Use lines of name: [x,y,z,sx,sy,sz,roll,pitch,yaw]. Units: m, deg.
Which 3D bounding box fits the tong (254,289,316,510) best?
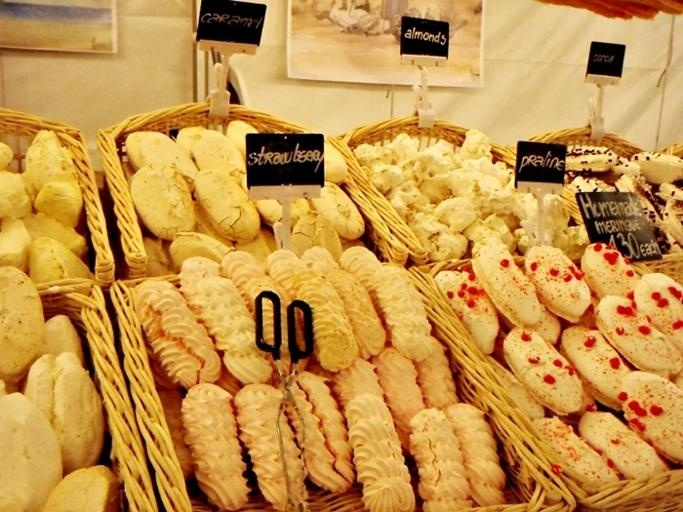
tong: [-0.157,0.413,1.791,0.217,0.578,0.242,-5,12,-29]
